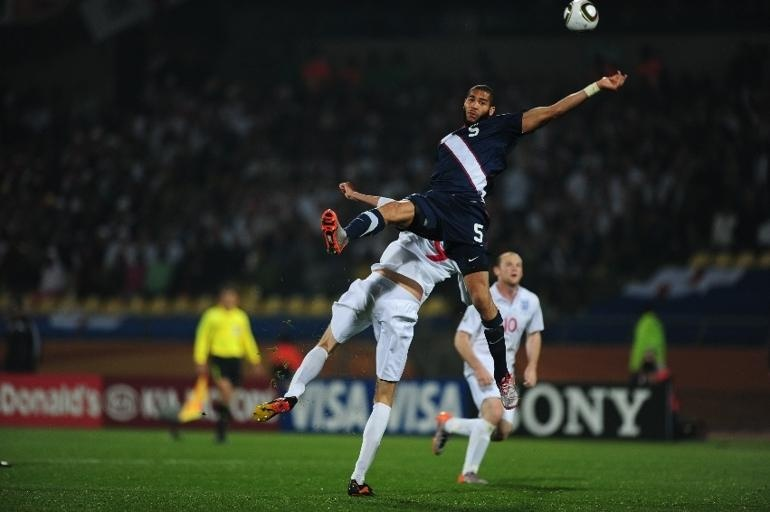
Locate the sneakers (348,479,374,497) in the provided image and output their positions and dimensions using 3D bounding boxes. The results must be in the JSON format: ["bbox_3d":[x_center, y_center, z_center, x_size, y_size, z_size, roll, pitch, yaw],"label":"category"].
[{"bbox_3d":[-0.319,3.624,19.877,0.492,0.231,0.181,9,-7,-30],"label":"sneakers"}]

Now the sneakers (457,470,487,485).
[{"bbox_3d":[1.407,3.611,20.811,0.489,0.242,0.188,1,1,0],"label":"sneakers"}]
